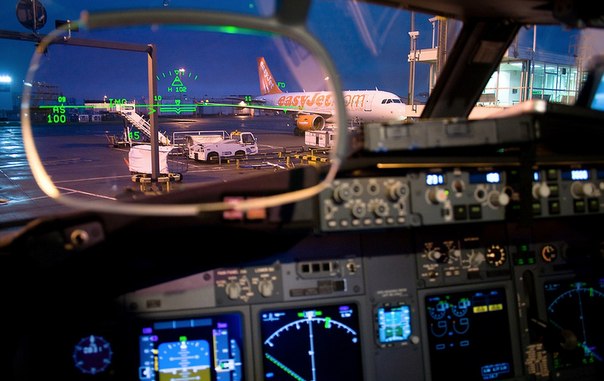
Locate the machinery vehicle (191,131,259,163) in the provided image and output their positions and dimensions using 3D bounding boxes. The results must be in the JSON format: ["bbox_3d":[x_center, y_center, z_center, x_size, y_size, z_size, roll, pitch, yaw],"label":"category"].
[{"bbox_3d":[-2.233,-1.243,16.868,1.466,0.707,0.951,-3,6,-28],"label":"machinery vehicle"}]
